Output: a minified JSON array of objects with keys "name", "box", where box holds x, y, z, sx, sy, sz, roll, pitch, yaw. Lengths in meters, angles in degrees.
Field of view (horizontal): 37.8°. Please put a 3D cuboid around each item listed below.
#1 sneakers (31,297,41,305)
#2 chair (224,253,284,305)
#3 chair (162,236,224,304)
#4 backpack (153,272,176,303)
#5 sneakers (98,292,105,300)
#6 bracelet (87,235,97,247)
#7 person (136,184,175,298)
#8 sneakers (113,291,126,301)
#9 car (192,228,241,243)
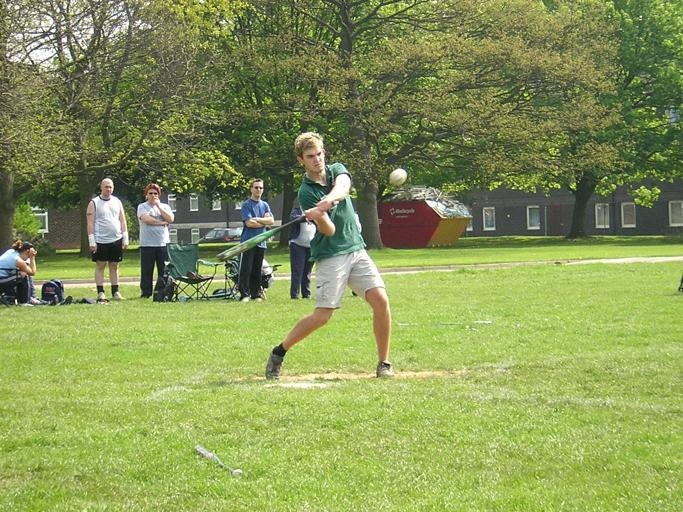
[{"name":"sneakers","box":[-6.310,0.963,20.521,0.129,0.082,0.203,4,0,-24]},{"name":"chair","box":[-2.077,0.462,21.770,1.048,1.039,0.850,3,3,27]},{"name":"chair","box":[-3.193,0.398,21.347,1.148,1.177,0.923,-3,12,-17]},{"name":"backpack","box":[-3.711,0.674,20.909,0.625,0.816,0.469,2,-2,-7]},{"name":"sneakers","box":[-4.881,0.855,20.298,0.123,0.144,0.224,1,-9,-20]},{"name":"bracelet","box":[-5.030,-0.288,20.067,0.227,0.296,0.216,-3,3,-3]},{"name":"person","box":[-3.988,-0.297,21.359,0.717,2.433,1.555,-3,10,-12]},{"name":"sneakers","box":[-4.703,0.877,21.087,0.521,0.213,0.167,-4,-3,43]},{"name":"car","box":[-8.181,-1.288,65.933,3.003,1.367,1.811,4,5,28]}]
